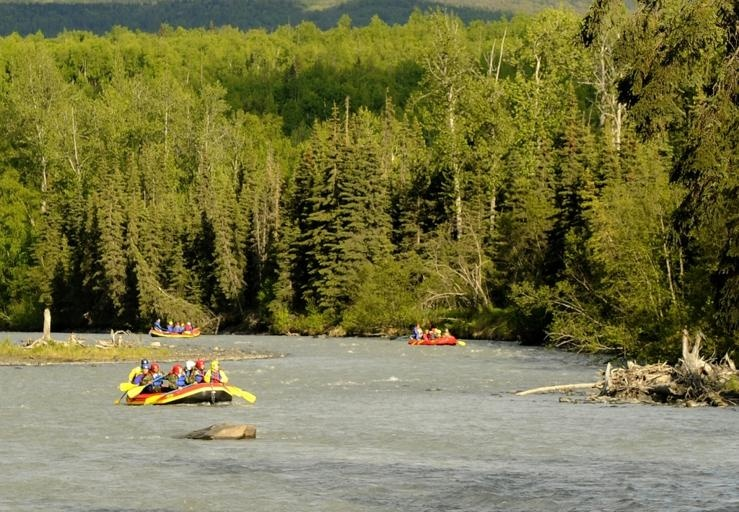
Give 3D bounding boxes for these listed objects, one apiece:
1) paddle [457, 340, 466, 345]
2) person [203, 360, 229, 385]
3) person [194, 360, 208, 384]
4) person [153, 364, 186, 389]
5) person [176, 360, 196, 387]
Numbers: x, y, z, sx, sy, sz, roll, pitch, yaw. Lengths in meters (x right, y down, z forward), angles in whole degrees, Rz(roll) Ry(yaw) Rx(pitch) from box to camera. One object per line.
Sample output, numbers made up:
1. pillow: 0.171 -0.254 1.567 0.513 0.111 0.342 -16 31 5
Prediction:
1. paddle: 8.441 8.053 129.324 0.403 0.444 0.900 -13 18 -43
2. person: -11.352 8.816 105.159 1.441 1.922 0.810 -3 14 -8
3. person: -12.555 8.641 105.435 1.108 1.483 0.599 1 4 -12
4. person: -14.926 9.193 106.081 1.496 1.022 0.643 -19 1 23
5. person: -13.546 8.765 105.494 1.384 1.865 0.819 15 35 -9
